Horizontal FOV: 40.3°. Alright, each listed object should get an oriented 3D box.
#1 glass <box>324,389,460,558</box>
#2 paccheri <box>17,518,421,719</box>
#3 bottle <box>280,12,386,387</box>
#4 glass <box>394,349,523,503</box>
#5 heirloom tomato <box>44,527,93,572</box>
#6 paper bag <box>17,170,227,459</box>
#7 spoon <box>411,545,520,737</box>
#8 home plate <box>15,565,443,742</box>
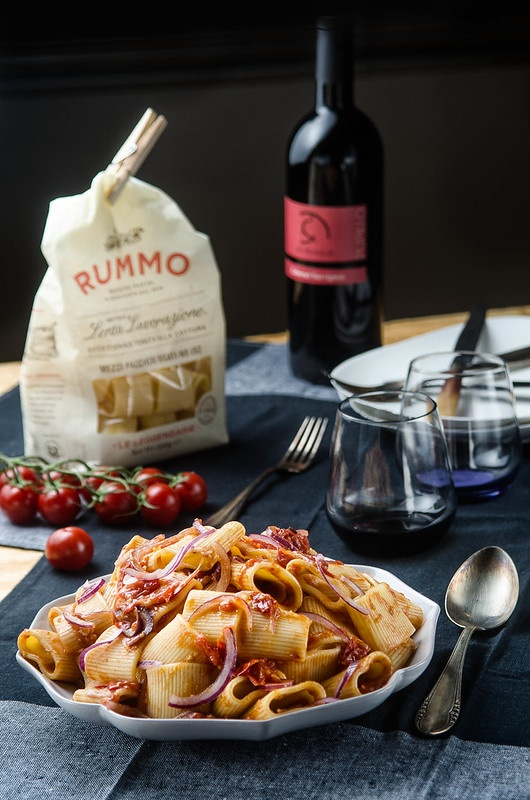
[{"bbox_3d":[0.115,0.079,0.702,0.140,0.144,0.141,0,9,7],"label":"glass"},{"bbox_3d":[-0.027,0.105,0.475,0.158,0.054,0.160,6,13,42],"label":"paccheri"},{"bbox_3d":[0.105,-0.281,1.117,0.157,0.530,0.126,-2,15,3],"label":"bottle"},{"bbox_3d":[0.191,0.028,0.854,0.135,0.153,0.167,-2,9,0],"label":"glass"},{"bbox_3d":[-0.188,0.143,0.689,0.046,0.041,0.042,-13,10,-17],"label":"heirloom tomato"},{"bbox_3d":[-0.180,-0.096,0.903,0.246,0.360,0.073,-11,16,-28],"label":"paper bag"},{"bbox_3d":[0.152,0.174,0.564,0.047,0.026,0.250,4,21,21],"label":"spoon"},{"bbox_3d":[0.005,0.202,0.514,0.231,0.026,0.226,-8,-6,15],"label":"home plate"}]
